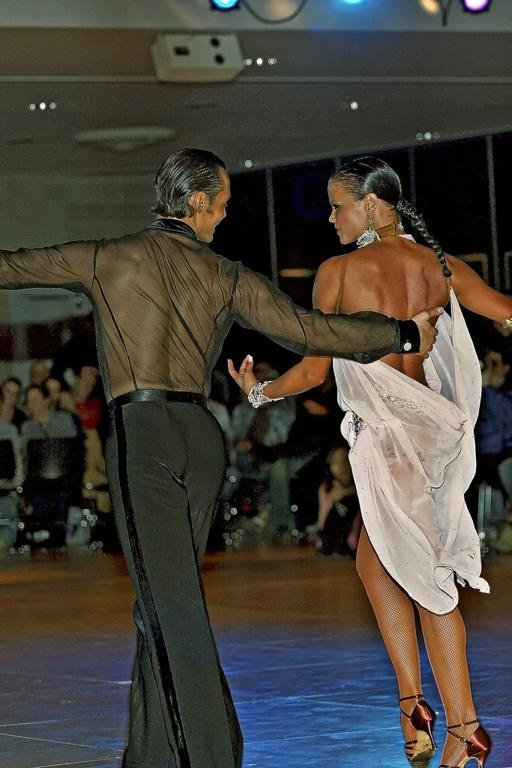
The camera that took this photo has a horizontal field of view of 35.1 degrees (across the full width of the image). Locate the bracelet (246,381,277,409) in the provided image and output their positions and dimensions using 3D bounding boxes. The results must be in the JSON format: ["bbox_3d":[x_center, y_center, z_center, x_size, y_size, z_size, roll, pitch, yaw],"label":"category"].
[{"bbox_3d":[0.045,0.025,2.505,0.141,0.086,0.050,3,33,1],"label":"bracelet"}]
